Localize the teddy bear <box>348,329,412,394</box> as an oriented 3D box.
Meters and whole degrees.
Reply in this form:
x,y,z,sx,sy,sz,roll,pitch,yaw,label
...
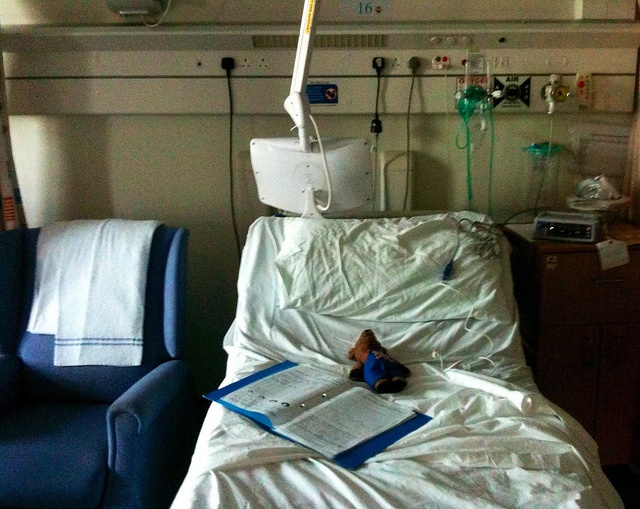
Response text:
x,y,z,sx,sy,sz,roll,pitch,yaw,label
0.198,0.379,2.027,0.194,0.095,0.303,-1,23,-15,teddy bear

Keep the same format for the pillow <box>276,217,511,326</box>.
x,y,z,sx,sy,sz,roll,pitch,yaw,label
0.254,0.058,2.280,1.046,0.407,0.616,2,15,3,pillow

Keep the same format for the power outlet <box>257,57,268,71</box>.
x,y,z,sx,sy,sz,roll,pitch,yaw,label
-0.273,-0.924,2.761,0.071,0.076,0.012,0,8,6,power outlet

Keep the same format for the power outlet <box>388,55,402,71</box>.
x,y,z,sx,sy,sz,roll,pitch,yaw,label
0.355,-0.922,2.759,0.069,0.067,0.013,0,8,6,power outlet

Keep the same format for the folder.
x,y,z,sx,sy,sz,roll,pitch,yaw,label
-0.026,0.482,1.840,0.634,0.064,0.466,10,13,31,folder

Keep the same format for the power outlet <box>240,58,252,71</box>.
x,y,z,sx,sy,sz,roll,pitch,yaw,label
-0.360,-0.921,2.757,0.054,0.052,0.013,12,5,-3,power outlet
